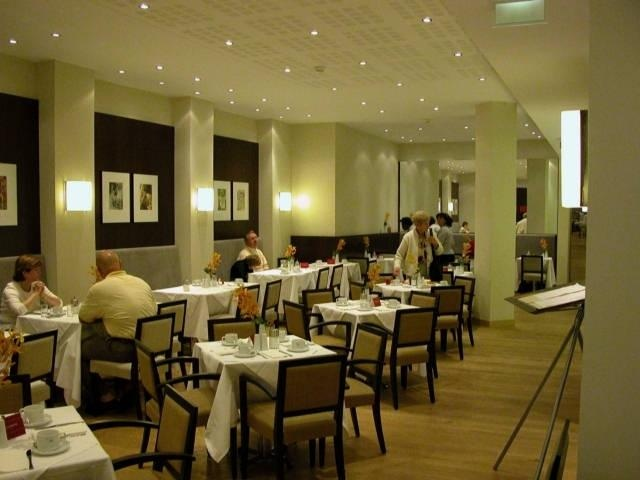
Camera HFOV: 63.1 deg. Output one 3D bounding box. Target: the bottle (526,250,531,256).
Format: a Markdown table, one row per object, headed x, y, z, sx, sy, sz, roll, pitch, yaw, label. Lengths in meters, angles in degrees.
| x | y | z | sx | sy | sz | roll | pitch | yaw | label |
| --- | --- | --- | --- | --- | --- | --- | --- | --- | --- |
| 5.345 | 0.318 | 13.440 | 0.087 | 0.114 | 0.095 | -2 | 9 | 0 | bottle |

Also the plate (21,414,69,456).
| x | y | z | sx | sy | sz | roll | pitch | yaw | label |
| --- | --- | --- | --- | --- | --- | --- | --- | --- | --- |
| -1.592 | 1.170 | 3.072 | 0.184 | 0.110 | 0.132 | 13 | -14 | -38 | plate |

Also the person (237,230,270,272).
| x | y | z | sx | sy | sz | roll | pitch | yaw | label |
| --- | --- | --- | --- | --- | --- | --- | --- | --- | --- |
| -1.265 | 0.222 | 9.829 | 0.478 | 0.811 | 0.689 | -16 | -16 | 38 | person |

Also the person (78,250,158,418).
| x | y | z | sx | sy | sz | roll | pitch | yaw | label |
| --- | --- | --- | --- | --- | --- | --- | --- | --- | --- |
| -2.107 | 0.953 | 5.506 | 0.810 | 1.626 | 0.540 | 3 | 5 | 22 | person |

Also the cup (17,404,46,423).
| x | y | z | sx | sy | sz | roll | pitch | yaw | label |
| --- | --- | --- | --- | --- | --- | --- | --- | --- | --- |
| -1.868 | 1.120 | 3.396 | 0.134 | 0.116 | 0.106 | 2 | 1 | 1 | cup |

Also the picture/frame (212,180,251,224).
| x | y | z | sx | sy | sz | roll | pitch | yaw | label |
| --- | --- | --- | --- | --- | --- | --- | --- | --- | --- |
| -1.938 | -0.824 | 11.188 | 0.034 | 0.744 | 0.925 | 0 | -1 | 27 | picture/frame |
